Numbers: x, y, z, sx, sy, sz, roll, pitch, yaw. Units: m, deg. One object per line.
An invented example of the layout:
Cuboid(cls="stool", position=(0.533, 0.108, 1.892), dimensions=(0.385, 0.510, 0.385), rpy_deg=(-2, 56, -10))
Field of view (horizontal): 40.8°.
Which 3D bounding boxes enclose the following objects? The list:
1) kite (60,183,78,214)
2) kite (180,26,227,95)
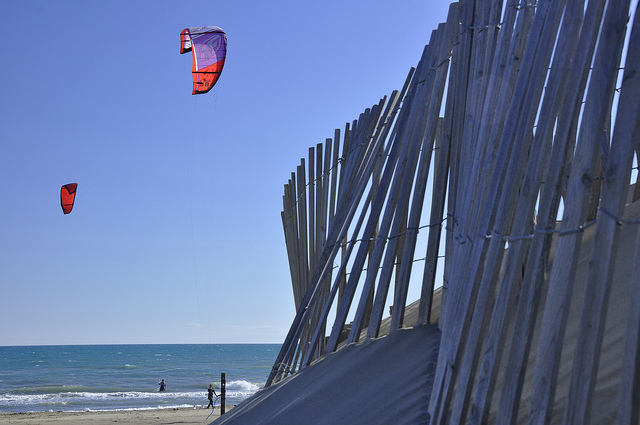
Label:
Cuboid(cls="kite", position=(-4.716, -0.261, 16.238), dimensions=(0.311, 0.702, 0.066), rpy_deg=(-6, -39, -7))
Cuboid(cls="kite", position=(-1.673, -2.123, 12.598), dimensions=(0.592, 1.210, 0.942), rpy_deg=(-4, -27, -3))
